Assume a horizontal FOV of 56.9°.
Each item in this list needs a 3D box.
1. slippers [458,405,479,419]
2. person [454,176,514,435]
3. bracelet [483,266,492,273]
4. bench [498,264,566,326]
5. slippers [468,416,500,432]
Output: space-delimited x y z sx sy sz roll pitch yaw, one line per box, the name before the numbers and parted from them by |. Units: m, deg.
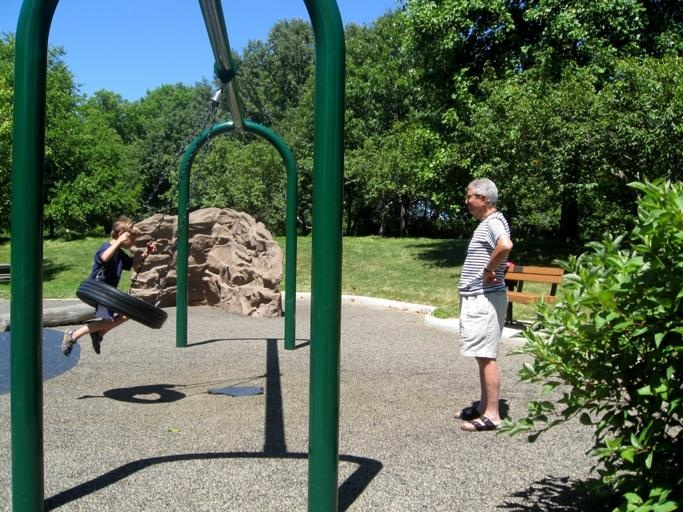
slippers | 1.134 1.399 5.587 0.211 0.093 0.078 2 -1 -24
person | 1.231 0.405 5.459 0.417 2.142 0.589 2 6 11
bracelet | 1.232 0.121 5.280 0.067 0.050 0.028 5 7 31
bench | 2.374 0.493 7.934 0.376 0.646 0.934 -1 1 -19
slippers | 1.209 1.436 5.331 0.192 0.088 0.119 3 8 1
